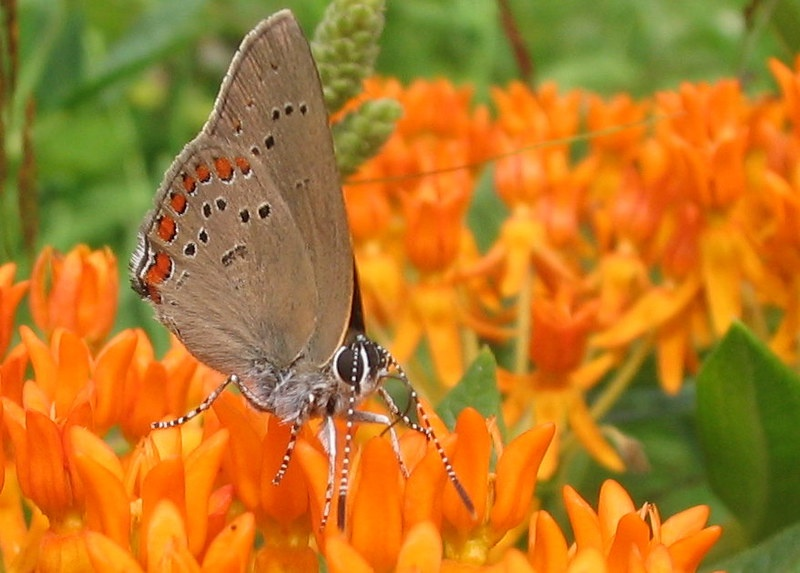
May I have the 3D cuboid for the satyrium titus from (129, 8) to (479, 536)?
[{"bbox_3d":[-0.077,-0.035,0.849,0.265,0.396,0.307,14,3,-7],"label":"satyrium titus"}]
